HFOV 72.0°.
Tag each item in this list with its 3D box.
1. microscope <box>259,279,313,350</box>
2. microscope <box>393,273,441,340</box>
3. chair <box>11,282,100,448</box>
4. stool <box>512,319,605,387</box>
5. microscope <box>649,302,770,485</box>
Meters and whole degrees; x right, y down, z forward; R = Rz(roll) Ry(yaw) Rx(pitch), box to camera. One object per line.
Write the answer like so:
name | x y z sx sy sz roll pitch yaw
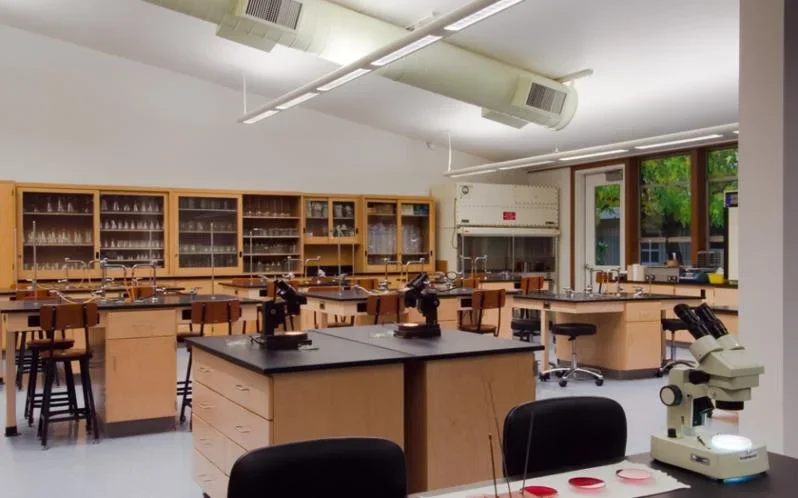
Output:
microscope | -0.780 0.438 3.853 0.344 0.438 0.249 0 1 -31
microscope | 0.130 0.437 4.224 0.330 0.541 0.250 2 0 -6
chair | -3.169 1.119 5.175 0.884 1.627 1.035 1 2 -35
stool | 1.960 1.207 6.795 0.898 0.772 0.983 -1 1 -30
microscope | 1.327 0.637 2.418 0.311 0.819 0.357 -5 -11 13
